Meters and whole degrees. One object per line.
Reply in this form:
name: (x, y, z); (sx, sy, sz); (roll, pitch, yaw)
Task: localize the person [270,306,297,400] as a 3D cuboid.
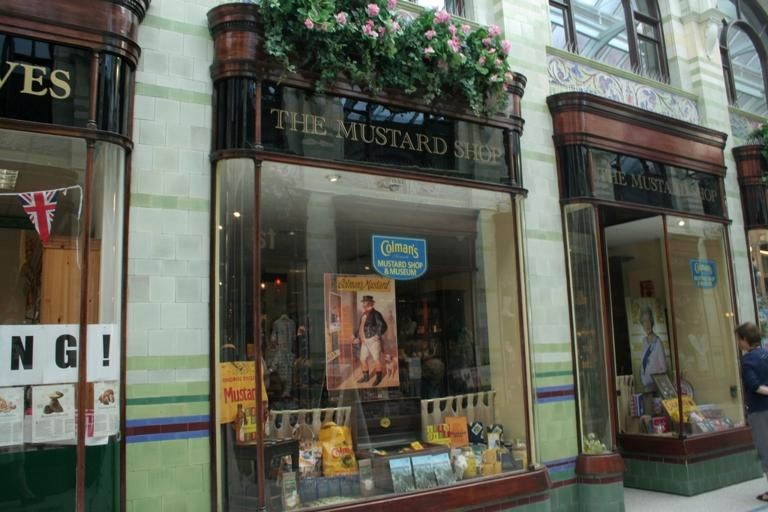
person: (-1.172, 1.155, 8.255); (0.205, 0.995, 0.437); (-8, -12, 20)
